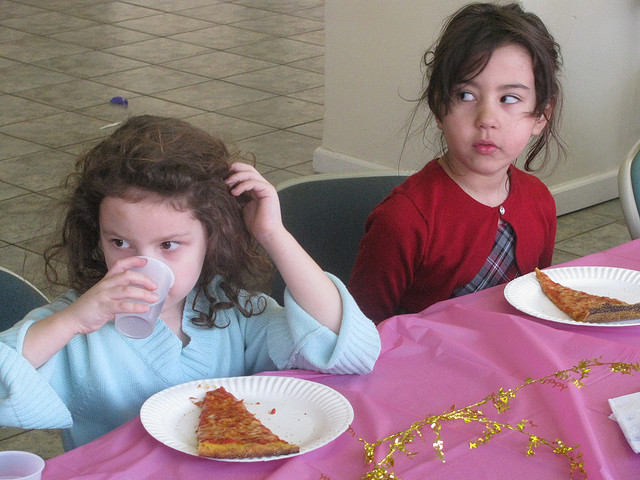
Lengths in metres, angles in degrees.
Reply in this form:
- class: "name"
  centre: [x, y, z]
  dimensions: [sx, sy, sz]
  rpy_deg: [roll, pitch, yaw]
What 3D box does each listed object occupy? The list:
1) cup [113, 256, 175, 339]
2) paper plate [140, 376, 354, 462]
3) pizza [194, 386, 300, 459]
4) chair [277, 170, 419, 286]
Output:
- class: "cup"
  centre: [-0.281, 0.085, 0.917]
  dimensions: [0.102, 0.095, 0.094]
  rpy_deg: [18, 40, -16]
- class: "paper plate"
  centre: [-0.109, 0.252, 0.847]
  dimensions: [0.301, 0.023, 0.307]
  rpy_deg: [2, 5, -6]
- class: "pizza"
  centre: [-0.127, 0.259, 0.842]
  dimensions: [0.133, 0.024, 0.185]
  rpy_deg: [-1, 11, -27]
- class: "chair"
  centre: [0.029, -0.086, 1.756]
  dimensions: [0.333, 0.388, 0.325]
  rpy_deg: [-8, 35, -7]
